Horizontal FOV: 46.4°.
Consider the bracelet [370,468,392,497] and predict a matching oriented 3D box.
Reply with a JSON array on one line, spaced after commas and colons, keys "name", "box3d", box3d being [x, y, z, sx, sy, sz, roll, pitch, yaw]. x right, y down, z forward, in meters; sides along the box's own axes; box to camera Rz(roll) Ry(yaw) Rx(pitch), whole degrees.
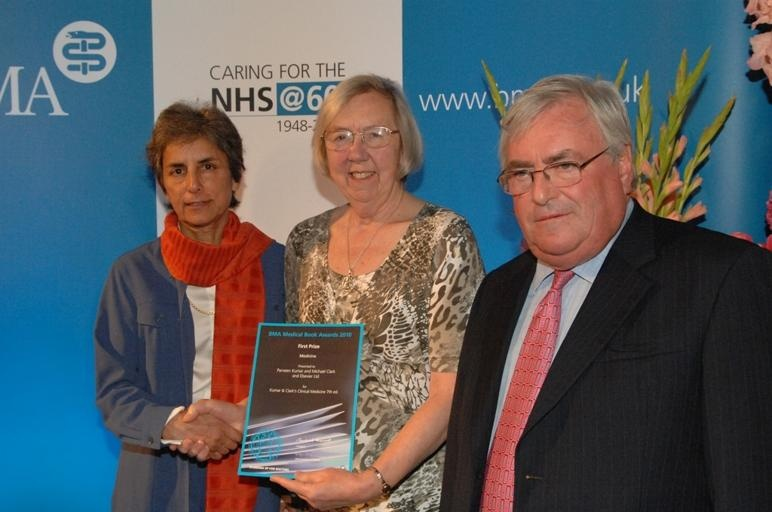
[{"name": "bracelet", "box3d": [-0.013, 1.090, 4.365, 0.041, 0.128, 0.112, -35, 9, -12]}]

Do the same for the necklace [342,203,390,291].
[{"name": "necklace", "box3d": [-0.128, -0.038, 4.626, 0.126, 0.039, 0.397, 5, 51, 18]}]
